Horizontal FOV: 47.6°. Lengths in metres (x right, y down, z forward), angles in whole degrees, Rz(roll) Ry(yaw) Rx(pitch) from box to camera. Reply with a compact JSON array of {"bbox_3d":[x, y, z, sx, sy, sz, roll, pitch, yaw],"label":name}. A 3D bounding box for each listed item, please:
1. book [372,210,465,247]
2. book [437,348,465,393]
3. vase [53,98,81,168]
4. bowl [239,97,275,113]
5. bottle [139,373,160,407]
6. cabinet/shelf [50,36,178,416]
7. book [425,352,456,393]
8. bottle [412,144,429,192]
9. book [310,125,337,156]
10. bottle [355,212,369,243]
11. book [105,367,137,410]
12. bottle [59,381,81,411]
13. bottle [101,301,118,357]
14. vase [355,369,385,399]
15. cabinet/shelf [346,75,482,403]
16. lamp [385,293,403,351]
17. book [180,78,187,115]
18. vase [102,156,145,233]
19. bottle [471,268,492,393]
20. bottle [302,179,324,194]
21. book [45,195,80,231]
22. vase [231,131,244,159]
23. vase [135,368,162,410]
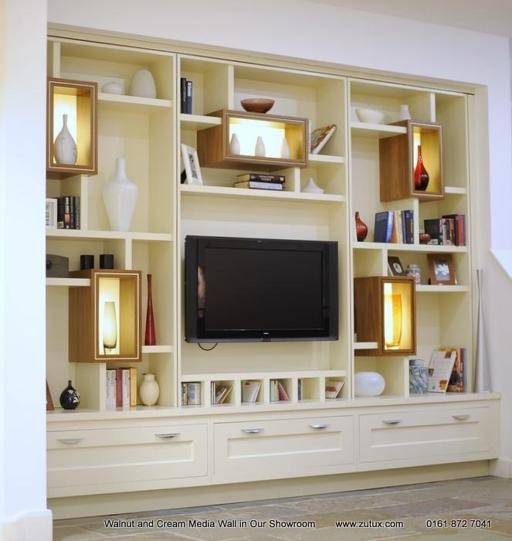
[{"bbox_3d":[1.257,-0.318,4.437,0.791,0.269,0.227,-1,0,-28],"label":"book"},{"bbox_3d":[1.530,0.777,4.471,0.034,0.339,0.216,16,-18,-34],"label":"book"},{"bbox_3d":[-1.050,-0.785,3.215,0.118,0.347,0.094,0,0,-19],"label":"vase"},{"bbox_3d":[0.008,-1.090,3.922,0.215,0.099,0.232,-1,1,0],"label":"bowl"},{"bbox_3d":[-0.639,0.713,3.497,0.149,0.193,0.148,2,4,0],"label":"bottle"},{"bbox_3d":[-0.873,-0.255,3.413,0.708,2.173,0.256,-1,-2,-36],"label":"cabinet/shelf"},{"bbox_3d":[1.412,0.758,4.473,0.179,0.350,0.039,0,11,6],"label":"book"},{"bbox_3d":[1.247,-0.765,4.346,0.085,0.364,0.190,0,0,28],"label":"bottle"},{"bbox_3d":[0.465,-0.934,4.090,0.057,0.228,0.216,22,-18,-26],"label":"book"},{"bbox_3d":[0.792,-0.324,4.329,0.090,0.220,0.311,0,0,11],"label":"bottle"},{"bbox_3d":[-0.778,0.647,3.403,0.176,0.268,0.241,1,-2,-31],"label":"book"},{"bbox_3d":[-1.065,0.703,3.278,0.180,0.143,0.091,0,0,42],"label":"bottle"},{"bbox_3d":[-0.822,0.313,3.272,0.049,0.247,0.125,0,0,27],"label":"bottle"},{"bbox_3d":[0.789,0.782,4.018,0.160,0.126,0.178,-1,0,31],"label":"vase"},{"bbox_3d":[1.155,-0.231,4.378,0.828,2.362,0.289,0,-6,-2],"label":"cabinet/shelf"},{"bbox_3d":[0.988,0.361,4.137,0.174,0.414,0.046,0,0,-40],"label":"lamp"},{"bbox_3d":[-0.442,-1.074,3.579,0.039,0.204,0.024,0,0,-7],"label":"book"},{"bbox_3d":[-0.804,-0.439,3.461,0.210,0.458,0.224,-4,-4,44],"label":"vase"},{"bbox_3d":[1.703,0.460,4.390,0.169,0.971,0.126,0,0,-41],"label":"bottle"},{"bbox_3d":[0.408,-0.565,4.054,0.119,0.125,0.130,2,1,22],"label":"bottle"},{"bbox_3d":[-1.052,-0.316,3.180,0.181,0.163,0.083,-1,0,-30],"label":"book"},{"bbox_3d":[-0.125,-0.790,3.649,0.063,0.139,0.080,0,0,-3],"label":"vase"},{"bbox_3d":[-0.629,0.716,3.565,0.151,0.250,0.168,-1,-3,17],"label":"vase"}]
